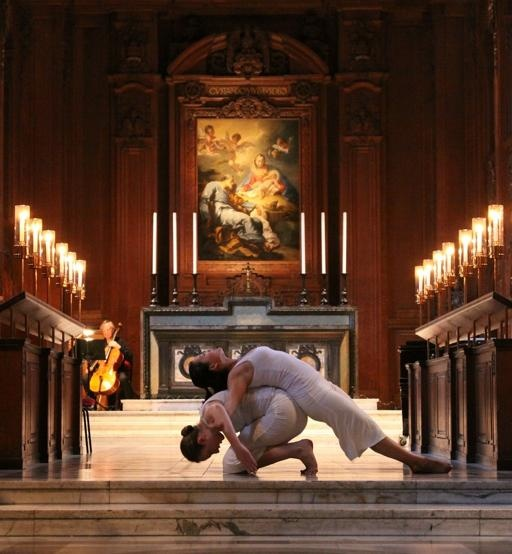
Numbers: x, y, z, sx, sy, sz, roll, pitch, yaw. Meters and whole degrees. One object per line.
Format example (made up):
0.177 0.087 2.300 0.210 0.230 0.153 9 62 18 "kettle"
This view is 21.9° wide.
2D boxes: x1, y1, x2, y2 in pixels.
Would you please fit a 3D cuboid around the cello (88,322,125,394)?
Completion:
-1.734 0.908 15.287 0.397 0.959 0.972 1 -10 -6 "cello"

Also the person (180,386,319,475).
-0.039 1.051 8.966 0.924 0.610 0.511 0 -10 2 "person"

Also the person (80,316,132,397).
-1.718 1.023 15.287 0.433 1.127 0.414 -1 -47 -4 "person"
